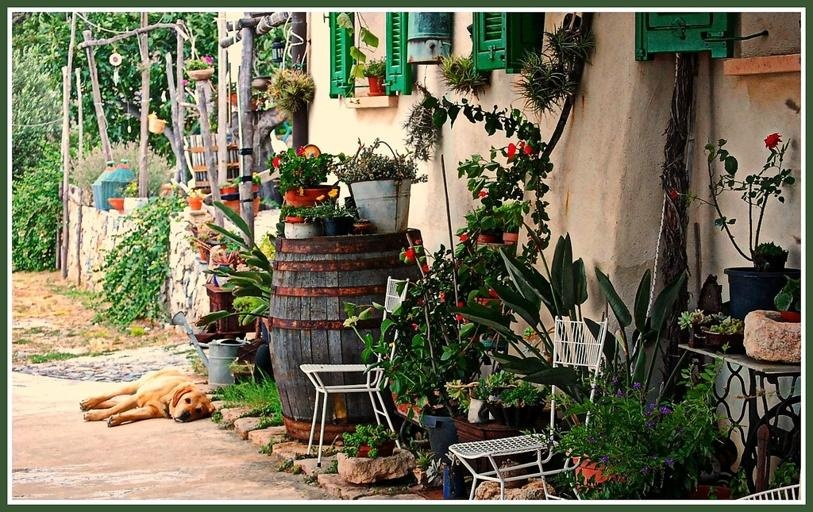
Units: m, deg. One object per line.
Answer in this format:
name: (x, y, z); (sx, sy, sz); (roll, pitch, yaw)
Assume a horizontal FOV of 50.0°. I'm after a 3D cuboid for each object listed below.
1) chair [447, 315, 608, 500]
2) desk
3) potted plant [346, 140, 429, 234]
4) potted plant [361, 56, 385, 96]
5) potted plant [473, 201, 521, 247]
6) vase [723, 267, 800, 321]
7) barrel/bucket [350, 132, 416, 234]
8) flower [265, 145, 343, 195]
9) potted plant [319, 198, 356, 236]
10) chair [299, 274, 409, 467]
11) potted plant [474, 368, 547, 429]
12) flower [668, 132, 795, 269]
chair: (0.707, 1.008, 5.356); (0.825, 1.187, 0.478); (-4, 9, -23)
desk: (2.011, 0.952, 5.163); (0.433, 0.871, 0.758); (-6, 5, -30)
potted plant: (-0.258, -0.539, 7.216); (0.743, 0.852, 0.686); (-2, 0, 15)
potted plant: (-0.273, -1.646, 8.011); (0.335, 0.386, 0.286); (-1, 0, -8)
potted plant: (0.650, -0.224, 6.078); (0.306, 0.205, 0.300); (2, -7, -30)
vase: (2.133, 0.249, 5.246); (0.389, 0.298, 0.399); (4, 1, 25)
barrel/bucket: (-0.197, -0.567, 6.942); (0.457, 0.706, 0.565); (-9, 11, -31)
flower: (-0.820, -0.704, 7.065); (0.538, 0.387, 0.539); (-20, 5, 1)
potted plant: (-0.509, -0.301, 6.713); (0.235, 0.194, 0.261); (0, -9, 3)
chair: (-0.361, 0.830, 6.347); (0.838, 1.301, 0.504); (-4, 5, -2)
potted plant: (0.692, 0.942, 5.679); (0.392, 0.279, 0.410); (10, -10, -21)
flower: (2.022, -0.342, 5.337); (0.656, 0.787, 0.274); (1, 6, 43)
